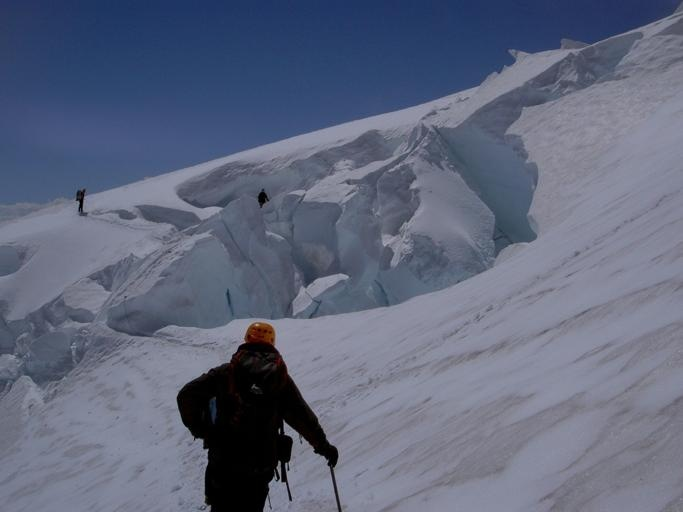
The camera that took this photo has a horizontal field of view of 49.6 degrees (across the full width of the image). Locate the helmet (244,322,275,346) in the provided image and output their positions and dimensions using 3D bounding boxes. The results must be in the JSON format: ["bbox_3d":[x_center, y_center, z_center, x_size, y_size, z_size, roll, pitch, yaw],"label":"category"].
[{"bbox_3d":[-1.124,1.086,10.139,0.285,0.365,0.307,104,-169,-72],"label":"helmet"}]

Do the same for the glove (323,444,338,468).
[{"bbox_3d":[-0.130,2.709,9.983,0.225,0.331,0.148,-4,5,20],"label":"glove"}]
